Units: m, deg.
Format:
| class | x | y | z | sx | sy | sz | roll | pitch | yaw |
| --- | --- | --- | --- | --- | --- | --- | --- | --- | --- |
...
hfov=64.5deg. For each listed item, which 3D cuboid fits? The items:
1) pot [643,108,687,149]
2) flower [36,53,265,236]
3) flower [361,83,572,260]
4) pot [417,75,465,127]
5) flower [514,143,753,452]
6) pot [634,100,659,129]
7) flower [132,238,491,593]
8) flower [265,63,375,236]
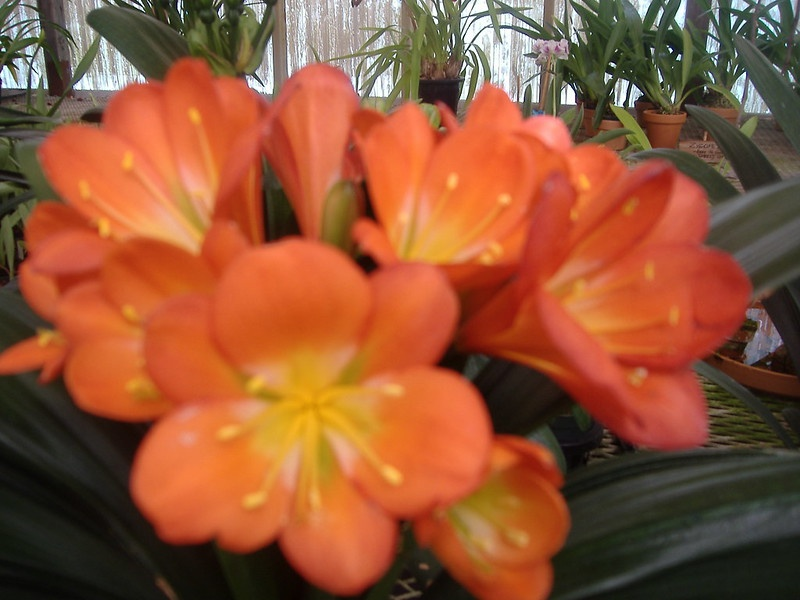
| class | x | y | z | sx | sy | sz | roll | pitch | yaw |
| --- | --- | --- | --- | --- | --- | --- | --- | --- | --- |
| pot | 1.013 | -0.661 | 2.453 | 0.154 | 0.129 | 0.165 | 2 | 25 | -1 |
| flower | -0.110 | -0.068 | 0.286 | 0.102 | 0.076 | 0.045 | -4 | 28 | -7 |
| flower | 0.027 | -0.047 | 0.296 | 0.074 | 0.053 | 0.076 | -44 | 85 | -6 |
| pot | 0.198 | -0.835 | 2.568 | 0.186 | 0.142 | 0.187 | -7 | 28 | 4 |
| flower | 0.104 | -0.004 | 0.295 | 0.099 | 0.117 | 0.057 | 0 | 2 | -8 |
| pot | 1.021 | -0.802 | 2.675 | 0.123 | 0.116 | 0.134 | -1 | 24 | 0 |
| flower | -0.035 | 0.046 | 0.252 | 0.141 | 0.126 | 0.062 | 1 | 28 | 1 |
| flower | -0.040 | -0.066 | 0.289 | 0.042 | 0.074 | 0.027 | -1 | 28 | -2 |
